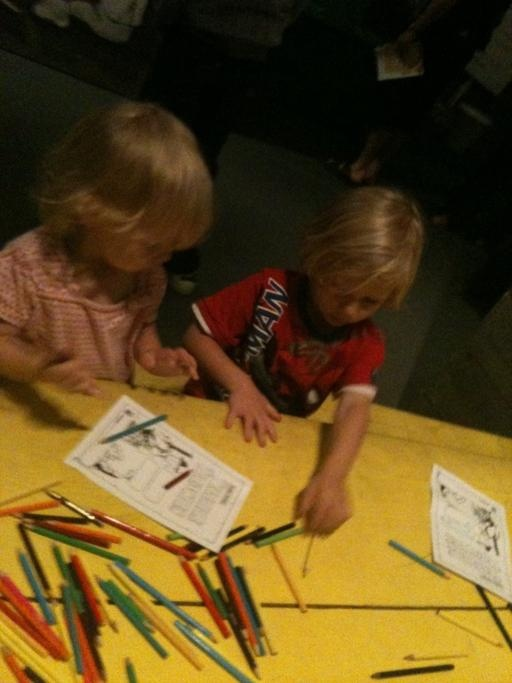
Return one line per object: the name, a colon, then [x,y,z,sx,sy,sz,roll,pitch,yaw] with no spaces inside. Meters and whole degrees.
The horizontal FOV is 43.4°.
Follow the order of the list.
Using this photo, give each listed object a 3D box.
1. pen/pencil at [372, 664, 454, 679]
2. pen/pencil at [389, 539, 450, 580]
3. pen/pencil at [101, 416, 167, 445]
pen/pencil: [0.247,0.521,1.010,0.151,0.007,0.014,4,47,-19]
pen/pencil: [0.287,0.392,1.145,0.111,0.012,0.015,29,40,12]
pen/pencil: [-0.220,0.159,1.137,0.159,0.007,0.020,-16,72,-32]
